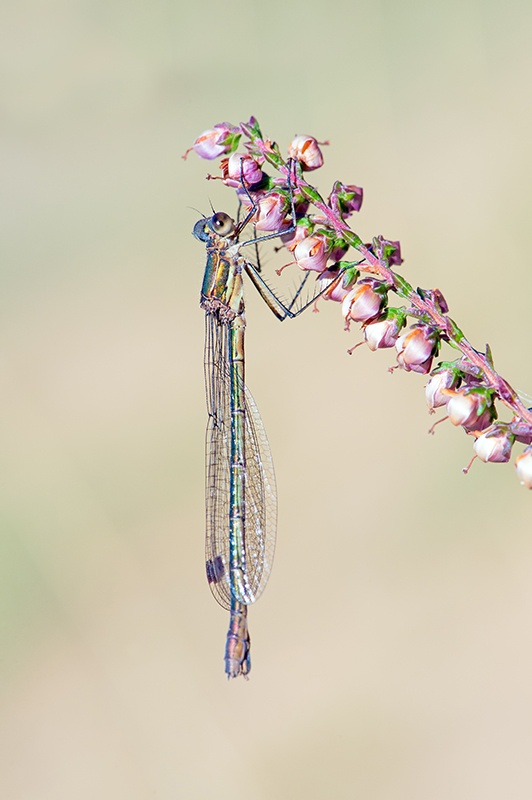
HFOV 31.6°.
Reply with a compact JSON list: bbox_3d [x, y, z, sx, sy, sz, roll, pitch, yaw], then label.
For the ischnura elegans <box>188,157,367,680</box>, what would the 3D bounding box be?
[{"bbox_3d":[0.024,0.089,1.556,0.150,0.422,0.947,0,-70,-18],"label":"ischnura elegans"}]
